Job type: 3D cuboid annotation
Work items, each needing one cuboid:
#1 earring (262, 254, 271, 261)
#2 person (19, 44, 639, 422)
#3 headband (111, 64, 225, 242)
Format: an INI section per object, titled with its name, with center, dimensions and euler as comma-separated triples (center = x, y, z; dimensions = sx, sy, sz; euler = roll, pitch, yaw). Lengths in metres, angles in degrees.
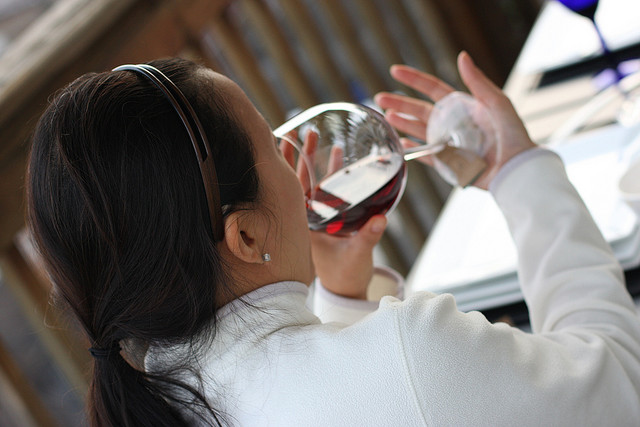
[earring]
center = -0.094, 0.076, 1.294
dimensions = 0.010, 0.010, 0.010
euler = -3, -9, 16
[person]
center = 0.028, 0.050, 1.406
dimensions = 0.991, 0.851, 0.464
euler = 13, -14, -41
[headband]
center = -0.236, -0.107, 1.252
dimensions = 0.198, 0.263, 0.056
euler = 11, 23, 42
